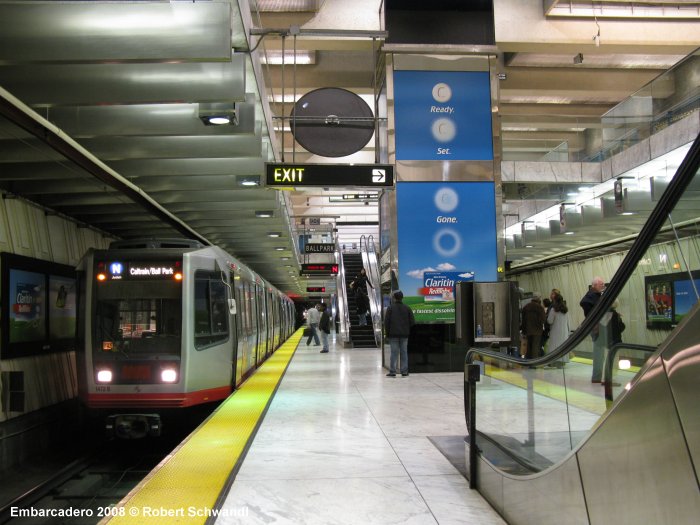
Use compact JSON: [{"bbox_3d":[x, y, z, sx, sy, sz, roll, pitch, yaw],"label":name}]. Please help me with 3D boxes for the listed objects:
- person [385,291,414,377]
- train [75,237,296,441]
[{"bbox_3d":[1.073,1.527,11.759,0.605,1.853,0.835,-1,-5,3],"label":"person"},{"bbox_3d":[-2.799,1.236,10.412,1.733,3.096,4.846,-2,-5,11],"label":"train"}]
